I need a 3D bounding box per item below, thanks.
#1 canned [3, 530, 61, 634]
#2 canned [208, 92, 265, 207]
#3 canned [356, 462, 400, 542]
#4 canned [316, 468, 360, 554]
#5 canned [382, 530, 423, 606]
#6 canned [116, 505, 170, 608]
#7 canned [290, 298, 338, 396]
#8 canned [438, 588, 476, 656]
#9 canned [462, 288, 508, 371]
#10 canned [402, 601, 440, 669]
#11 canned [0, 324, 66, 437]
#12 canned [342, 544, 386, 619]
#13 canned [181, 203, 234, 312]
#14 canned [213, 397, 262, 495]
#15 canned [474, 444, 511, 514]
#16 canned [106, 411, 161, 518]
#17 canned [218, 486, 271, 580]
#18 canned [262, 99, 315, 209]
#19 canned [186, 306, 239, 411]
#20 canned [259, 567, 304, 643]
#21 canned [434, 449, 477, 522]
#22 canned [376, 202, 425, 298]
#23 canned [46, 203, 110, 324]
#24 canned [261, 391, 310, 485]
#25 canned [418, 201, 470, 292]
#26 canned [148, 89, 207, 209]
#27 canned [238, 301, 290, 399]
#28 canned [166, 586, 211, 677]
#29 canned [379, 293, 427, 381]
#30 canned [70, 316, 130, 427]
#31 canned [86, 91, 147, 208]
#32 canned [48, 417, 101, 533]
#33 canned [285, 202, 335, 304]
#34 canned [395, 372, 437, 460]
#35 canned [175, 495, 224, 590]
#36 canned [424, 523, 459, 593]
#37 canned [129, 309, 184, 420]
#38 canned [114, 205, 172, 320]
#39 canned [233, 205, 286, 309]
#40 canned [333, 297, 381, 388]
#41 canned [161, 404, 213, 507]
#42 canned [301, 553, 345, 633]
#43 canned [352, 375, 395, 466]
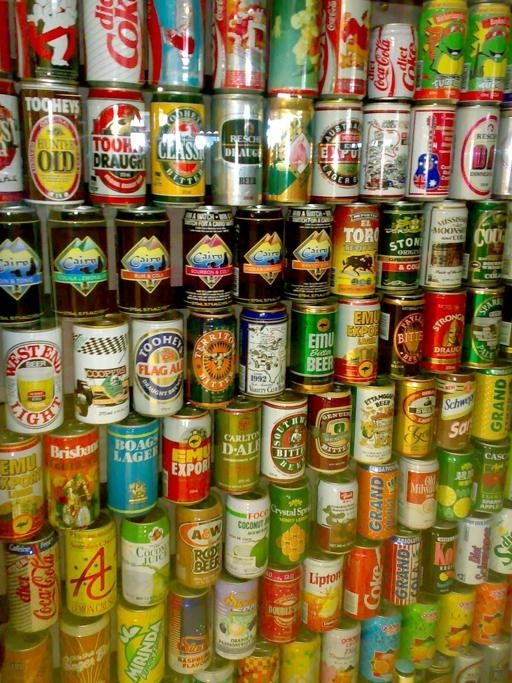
[{"bbox_3d":[-0.468,0.510,1.297,0.119,0.204,0.051,-9,8,-20],"label":"canned"},{"bbox_3d":[-0.039,-0.396,1.272,0.123,0.227,0.043,-6,8,-2],"label":"canned"},{"bbox_3d":[0.322,0.422,1.623,0.114,0.208,0.038,-5,8,6],"label":"canned"},{"bbox_3d":[0.211,0.445,1.579,0.100,0.203,0.064,-8,8,-18],"label":"canned"},{"bbox_3d":[0.404,0.638,1.701,0.112,0.241,0.056,-4,8,11],"label":"canned"},{"bbox_3d":[-0.254,0.496,1.420,0.119,0.175,0.105,1,-4,-10],"label":"canned"},{"bbox_3d":[0.134,0.011,1.448,0.123,0.217,0.073,-5,8,3],"label":"canned"},{"bbox_3d":[0.579,0.825,1.811,0.121,0.157,0.114,16,-16,-22],"label":"canned"},{"bbox_3d":[0.633,-0.041,1.668,0.158,0.218,0.059,-10,9,-30],"label":"canned"},{"bbox_3d":[0.471,0.824,1.742,0.124,0.205,0.045,-7,8,-13],"label":"canned"},{"bbox_3d":[-0.432,0.080,1.200,0.124,0.220,0.061,-8,8,-16],"label":"canned"},{"bbox_3d":[0.288,0.651,1.654,0.119,0.229,0.046,-5,8,8],"label":"canned"},{"bbox_3d":[-0.099,-0.176,1.299,0.123,0.214,0.061,-7,8,-6],"label":"canned"},{"bbox_3d":[-0.043,0.246,1.443,0.123,0.223,0.054,-6,8,-4],"label":"canned"},{"bbox_3d":[0.675,0.391,1.756,0.130,0.217,0.054,-9,8,-22],"label":"canned"},{"bbox_3d":[-0.265,0.273,1.334,0.127,0.211,0.051,-8,8,-13],"label":"canned"},{"bbox_3d":[-0.018,0.475,1.528,0.123,0.179,0.112,2,-4,-13],"label":"canned"},{"bbox_3d":[0.070,-0.415,1.342,0.122,0.232,0.057,-6,8,1],"label":"canned"},{"bbox_3d":[-0.091,0.036,1.380,0.130,0.219,0.101,-10,9,-27],"label":"canned"},{"bbox_3d":[0.064,0.672,1.581,0.118,0.215,0.056,-6,8,-2],"label":"canned"},{"bbox_3d":[0.548,0.403,1.739,0.152,0.176,0.143,3,-5,14],"label":"canned"},{"bbox_3d":[0.350,-0.227,1.502,0.119,0.220,0.050,-5,8,9],"label":"canned"},{"bbox_3d":[-0.338,-0.153,1.182,0.117,0.216,0.065,-8,8,-16],"label":"canned"},{"bbox_3d":[0.067,0.237,1.486,0.126,0.209,0.054,-6,8,1],"label":"canned"},{"bbox_3d":[0.467,-0.241,1.535,0.119,0.212,0.051,-5,8,5],"label":"canned"},{"bbox_3d":[-0.156,-0.386,1.234,0.124,0.218,0.054,-7,8,-8],"label":"canned"},{"bbox_3d":[0.015,0.024,1.400,0.123,0.217,0.057,-6,8,-2],"label":"canned"},{"bbox_3d":[-0.159,0.699,1.480,0.119,0.221,0.049,-7,8,-10],"label":"canned"},{"bbox_3d":[0.378,-0.018,1.552,0.132,0.212,0.070,-8,8,-19],"label":"canned"},{"bbox_3d":[-0.311,0.061,1.243,0.124,0.213,0.061,-8,8,-15],"label":"canned"},{"bbox_3d":[-0.271,-0.373,1.189,0.122,0.219,0.054,-7,8,-12],"label":"canned"},{"bbox_3d":[-0.392,0.290,1.328,0.127,0.189,0.116,-1,2,-14],"label":"canned"},{"bbox_3d":[0.135,-0.205,1.412,0.129,0.214,0.075,-10,9,-30],"label":"canned"},{"bbox_3d":[0.420,0.191,1.618,0.099,0.220,0.073,-8,8,-16],"label":"canned"},{"bbox_3d":[-0.131,0.476,1.453,0.124,0.205,0.079,-8,8,-17],"label":"canned"},{"bbox_3d":[0.517,0.613,1.732,0.099,0.202,0.040,-4,8,12],"label":"canned"},{"bbox_3d":[-0.204,0.048,1.318,0.129,0.216,0.094,-10,9,-31],"label":"canned"},{"bbox_3d":[-0.228,-0.162,1.267,0.174,0.200,0.162,-5,16,-22],"label":"canned"},{"bbox_3d":[0.006,-0.186,1.340,0.119,0.210,0.056,-6,8,1],"label":"canned"},{"bbox_3d":[0.254,-0.002,1.512,0.133,0.214,0.077,-7,8,-6],"label":"canned"},{"bbox_3d":[-0.156,0.259,1.394,0.127,0.220,0.057,-7,8,-10],"label":"canned"},{"bbox_3d":[0.191,0.663,1.617,0.136,0.230,0.057,-9,8,-23],"label":"canned"},{"bbox_3d":[0.305,0.214,1.573,0.111,0.223,0.057,-8,8,-18],"label":"canned"}]
